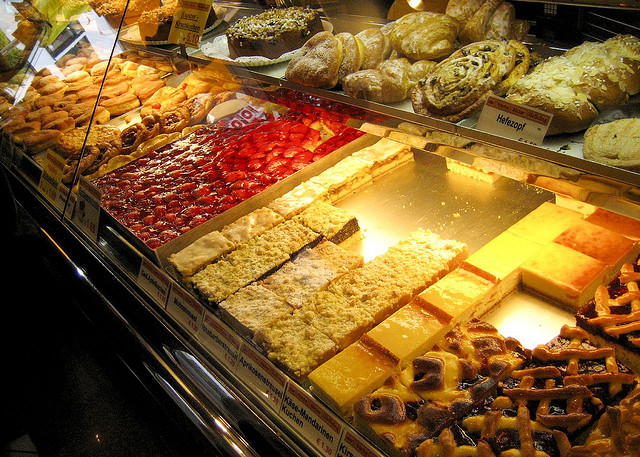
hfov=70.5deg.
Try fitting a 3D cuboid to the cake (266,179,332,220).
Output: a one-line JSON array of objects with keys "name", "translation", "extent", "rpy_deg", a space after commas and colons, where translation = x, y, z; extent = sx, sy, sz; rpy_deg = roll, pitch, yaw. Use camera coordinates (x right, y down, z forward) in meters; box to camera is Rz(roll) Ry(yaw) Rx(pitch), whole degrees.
[{"name": "cake", "translation": [-0.135, -0.198, 2.899], "extent": [0.335, 0.097, 0.243], "rpy_deg": [-33, 46, -17]}]

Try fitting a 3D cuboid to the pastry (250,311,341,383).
[{"name": "pastry", "translation": [-0.100, 0.578, 2.246], "extent": [0.320, 0.119, 0.439], "rpy_deg": [27, 19, 23]}]

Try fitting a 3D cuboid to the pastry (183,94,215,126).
[{"name": "pastry", "translation": [-0.972, -0.977, 3.706], "extent": [0.278, 0.089, 0.265], "rpy_deg": [-21, 51, 0]}]

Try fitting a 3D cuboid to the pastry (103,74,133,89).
[{"name": "pastry", "translation": [-1.764, -1.289, 3.997], "extent": [0.186, 0.057, 0.188], "rpy_deg": [26, 45, 34]}]

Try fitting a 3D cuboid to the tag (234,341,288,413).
[{"name": "tag", "translation": [-0.268, 0.686, 2.062], "extent": [0.285, 0.169, 0.012], "rpy_deg": [39, 27, 31]}]

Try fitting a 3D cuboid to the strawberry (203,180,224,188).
[{"name": "strawberry", "translation": [-0.704, -0.292, 3.062], "extent": [0.073, 0.018, 0.070], "rpy_deg": [8, 30, 20]}]

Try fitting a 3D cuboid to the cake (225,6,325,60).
[{"name": "cake", "translation": [-0.237, -1.136, 2.650], "extent": [0.449, 0.153, 0.480], "rpy_deg": [13, 43, 36]}]

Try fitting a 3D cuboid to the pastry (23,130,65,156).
[{"name": "pastry", "translation": [-2.141, -0.664, 3.572], "extent": [0.306, 0.106, 0.172], "rpy_deg": [-33, 60, -21]}]

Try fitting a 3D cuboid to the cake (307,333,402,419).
[{"name": "cake", "translation": [0.158, 0.624, 1.969], "extent": [0.380, 0.112, 0.262], "rpy_deg": [-35, 49, -25]}]

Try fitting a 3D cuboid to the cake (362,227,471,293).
[{"name": "cake", "translation": [0.618, 0.196, 2.640], "extent": [0.399, 0.513, 0.096], "rpy_deg": [27, 79, 10]}]

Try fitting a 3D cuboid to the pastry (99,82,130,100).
[{"name": "pastry", "translation": [-1.760, -1.169, 3.908], "extent": [0.282, 0.071, 0.148], "rpy_deg": [-17, 46, -8]}]

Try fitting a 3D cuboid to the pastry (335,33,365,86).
[{"name": "pastry", "translation": [0.149, -0.827, 2.262], "extent": [0.065, 0.251, 0.273], "rpy_deg": [-16, 12, 23]}]

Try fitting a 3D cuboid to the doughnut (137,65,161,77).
[{"name": "doughnut", "translation": [-1.523, -1.381, 4.003], "extent": [0.236, 0.091, 0.285], "rpy_deg": [-11, 16, -17]}]

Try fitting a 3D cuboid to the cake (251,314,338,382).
[{"name": "cake", "translation": [-0.109, 0.537, 2.199], "extent": [0.302, 0.364, 0.110], "rpy_deg": [-36, 34, -7]}]

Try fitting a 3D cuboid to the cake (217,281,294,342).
[{"name": "cake", "translation": [-0.336, 0.419, 2.343], "extent": [0.268, 0.085, 0.283], "rpy_deg": [30, 50, 34]}]

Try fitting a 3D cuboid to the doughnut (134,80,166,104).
[{"name": "doughnut", "translation": [-1.469, -1.187, 3.911], "extent": [0.263, 0.083, 0.191], "rpy_deg": [-39, 51, -24]}]

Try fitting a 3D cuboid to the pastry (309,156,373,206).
[{"name": "pastry", "translation": [0.155, -0.303, 3.028], "extent": [0.383, 0.110, 0.278], "rpy_deg": [-31, 52, -12]}]

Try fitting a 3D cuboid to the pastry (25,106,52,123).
[{"name": "pastry", "translation": [-2.272, -0.916, 3.689], "extent": [0.166, 0.051, 0.126], "rpy_deg": [-23, 28, -17]}]

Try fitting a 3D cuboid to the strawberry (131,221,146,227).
[{"name": "strawberry", "translation": [-1.124, -0.029, 2.839], "extent": [0.084, 0.020, 0.042], "rpy_deg": [6, 56, 20]}]

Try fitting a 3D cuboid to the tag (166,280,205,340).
[{"name": "tag", "translation": [-0.709, 0.443, 2.390], "extent": [0.272, 0.174, 0.004], "rpy_deg": [37, 28, 31]}]

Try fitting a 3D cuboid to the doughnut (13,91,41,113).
[{"name": "doughnut", "translation": [-2.489, -1.067, 3.903], "extent": [0.217, 0.077, 0.212], "rpy_deg": [-34, 55, -18]}]

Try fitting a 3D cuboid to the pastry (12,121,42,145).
[{"name": "pastry", "translation": [-2.350, -0.774, 3.631], "extent": [0.175, 0.080, 0.234], "rpy_deg": [32, 56, 32]}]

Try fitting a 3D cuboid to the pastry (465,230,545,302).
[{"name": "pastry", "translation": [0.947, 0.157, 2.355], "extent": [0.458, 0.102, 0.305], "rpy_deg": [-38, 51, -24]}]

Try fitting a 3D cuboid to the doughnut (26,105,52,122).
[{"name": "doughnut", "translation": [-2.276, -0.926, 3.689], "extent": [0.156, 0.044, 0.146], "rpy_deg": [-19, 31, 5]}]

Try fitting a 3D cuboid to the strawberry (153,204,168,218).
[{"name": "strawberry", "translation": [-1.021, -0.109, 2.922], "extent": [0.078, 0.046, 0.084], "rpy_deg": [-9, 39, -6]}]

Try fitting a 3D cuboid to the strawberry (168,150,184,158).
[{"name": "strawberry", "translation": [-1.070, -0.552, 3.388], "extent": [0.108, 0.019, 0.067], "rpy_deg": [-37, 53, -13]}]

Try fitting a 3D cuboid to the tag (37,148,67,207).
[{"name": "tag", "translation": [-1.878, -0.340, 3.204], "extent": [0.339, 0.340, 0.020], "rpy_deg": [37, 32, 23]}]

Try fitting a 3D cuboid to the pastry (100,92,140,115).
[{"name": "pastry", "translation": [-1.666, -1.043, 3.847], "extent": [0.211, 0.076, 0.213], "rpy_deg": [24, 48, 38]}]

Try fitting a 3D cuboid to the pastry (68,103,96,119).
[{"name": "pastry", "translation": [-1.963, -0.961, 3.728], "extent": [0.219, 0.076, 0.153], "rpy_deg": [-6, 46, 19]}]

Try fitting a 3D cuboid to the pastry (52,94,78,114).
[{"name": "pastry", "translation": [-2.108, -1.021, 3.786], "extent": [0.184, 0.059, 0.127], "rpy_deg": [-11, 54, 5]}]

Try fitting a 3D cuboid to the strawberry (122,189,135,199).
[{"name": "strawberry", "translation": [-1.287, -0.226, 3.058], "extent": [0.044, 0.024, 0.076], "rpy_deg": [22, 31, 1]}]

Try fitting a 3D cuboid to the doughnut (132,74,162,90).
[{"name": "doughnut", "translation": [-1.514, -1.292, 4.003], "extent": [0.176, 0.065, 0.214], "rpy_deg": [23, 43, 36]}]

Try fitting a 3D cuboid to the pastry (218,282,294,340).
[{"name": "pastry", "translation": [-0.333, 0.429, 2.361], "extent": [0.421, 0.084, 0.382], "rpy_deg": [2, 36, -15]}]

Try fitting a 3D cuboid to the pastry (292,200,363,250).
[{"name": "pastry", "translation": [0.055, -0.032, 2.741], "extent": [0.384, 0.177, 0.286], "rpy_deg": [31, 49, 32]}]

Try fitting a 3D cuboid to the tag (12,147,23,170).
[{"name": "tag", "translation": [-2.413, -0.556, 3.632], "extent": [0.150, 0.039, 0.152], "rpy_deg": [16, 89, 38]}]

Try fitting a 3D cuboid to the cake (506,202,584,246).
[{"name": "cake", "translation": [1.230, -0.029, 2.472], "extent": [0.338, 0.073, 0.225], "rpy_deg": [-36, 43, -26]}]

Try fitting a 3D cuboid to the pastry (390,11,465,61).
[{"name": "pastry", "translation": [0.440, -0.901, 2.184], "extent": [0.334, 0.123, 0.398], "rpy_deg": [0, 13, -27]}]

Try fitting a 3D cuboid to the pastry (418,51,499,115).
[{"name": "pastry", "translation": [0.581, -0.547, 1.866], "extent": [0.298, 0.098, 0.216], "rpy_deg": [-45, 54, 0]}]
